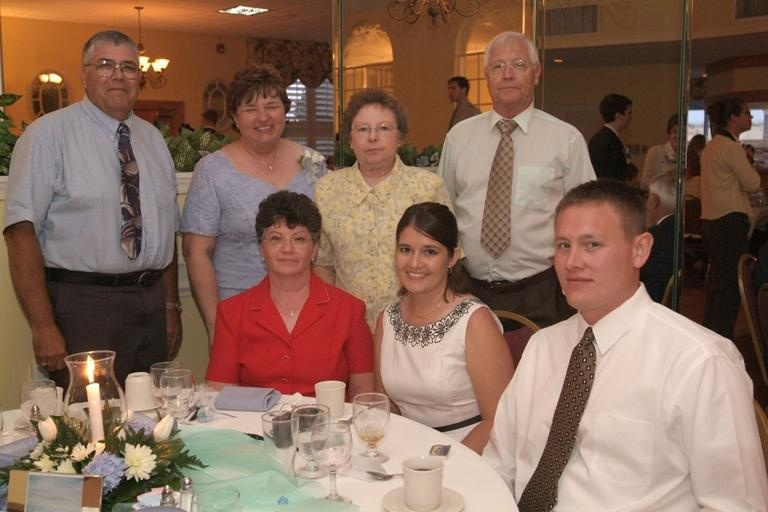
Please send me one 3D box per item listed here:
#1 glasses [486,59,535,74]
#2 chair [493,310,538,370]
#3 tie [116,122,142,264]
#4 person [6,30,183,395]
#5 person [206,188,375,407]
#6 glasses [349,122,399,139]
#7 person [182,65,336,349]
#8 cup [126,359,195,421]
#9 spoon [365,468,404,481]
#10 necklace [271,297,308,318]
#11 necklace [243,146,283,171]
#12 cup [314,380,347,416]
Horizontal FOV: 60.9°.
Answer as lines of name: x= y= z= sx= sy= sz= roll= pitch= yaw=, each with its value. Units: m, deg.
glasses: x=0.744 y=-1.097 z=3.817 sx=0.283 sy=0.088 sz=0.121 roll=-1 pitch=6 yaw=10
chair: x=0.655 y=0.370 z=3.185 sx=0.194 sy=0.259 sz=0.368 roll=12 pitch=3 yaw=27
tie: x=-1.398 y=-0.363 z=3.618 sx=0.064 sy=0.782 sz=0.153 roll=4 pitch=12 yaw=9
person: x=-1.576 y=-0.255 z=3.592 sx=0.896 sy=1.930 sz=0.391 roll=-5 pitch=6 yaw=-26
person: x=-0.462 y=0.310 z=3.187 sx=0.831 sy=1.217 sz=0.583 roll=0 pitch=-12 yaw=-16
glasses: x=-0.020 y=-0.676 z=3.505 sx=0.247 sy=0.055 sz=0.066 roll=-4 pitch=6 yaw=-15
person: x=-0.747 y=-0.059 z=4.008 sx=0.879 sy=2.165 sz=0.611 roll=-10 pitch=29 yaw=-31
cup: x=-0.900 y=0.529 z=2.647 sx=0.252 sy=0.145 sz=0.263 roll=0 pitch=-3 yaw=0
spoon: x=0.002 y=0.771 z=2.321 sx=0.127 sy=0.024 sz=0.047 roll=-2 pitch=6 yaw=-6
necklace: x=-0.463 y=0.262 z=3.204 sx=0.113 sy=0.030 sz=0.111 roll=0 pitch=41 yaw=-3
necklace: x=-0.701 y=-0.553 z=3.727 sx=0.169 sy=0.137 sz=0.062 roll=18 pitch=-4 yaw=-15
cup: x=-0.212 y=0.577 z=2.701 sx=0.115 sy=0.123 sz=0.130 roll=-1 pitch=-2 yaw=-6
